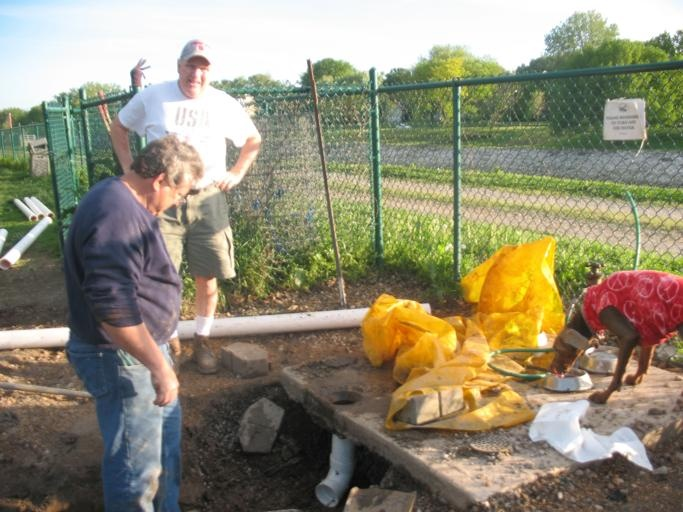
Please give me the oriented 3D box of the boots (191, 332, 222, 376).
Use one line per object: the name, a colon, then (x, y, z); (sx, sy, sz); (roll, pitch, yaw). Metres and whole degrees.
boots: (-1.217, 0.832, 5.735); (0.157, 0.271, 0.443); (-6, 25, -23)
